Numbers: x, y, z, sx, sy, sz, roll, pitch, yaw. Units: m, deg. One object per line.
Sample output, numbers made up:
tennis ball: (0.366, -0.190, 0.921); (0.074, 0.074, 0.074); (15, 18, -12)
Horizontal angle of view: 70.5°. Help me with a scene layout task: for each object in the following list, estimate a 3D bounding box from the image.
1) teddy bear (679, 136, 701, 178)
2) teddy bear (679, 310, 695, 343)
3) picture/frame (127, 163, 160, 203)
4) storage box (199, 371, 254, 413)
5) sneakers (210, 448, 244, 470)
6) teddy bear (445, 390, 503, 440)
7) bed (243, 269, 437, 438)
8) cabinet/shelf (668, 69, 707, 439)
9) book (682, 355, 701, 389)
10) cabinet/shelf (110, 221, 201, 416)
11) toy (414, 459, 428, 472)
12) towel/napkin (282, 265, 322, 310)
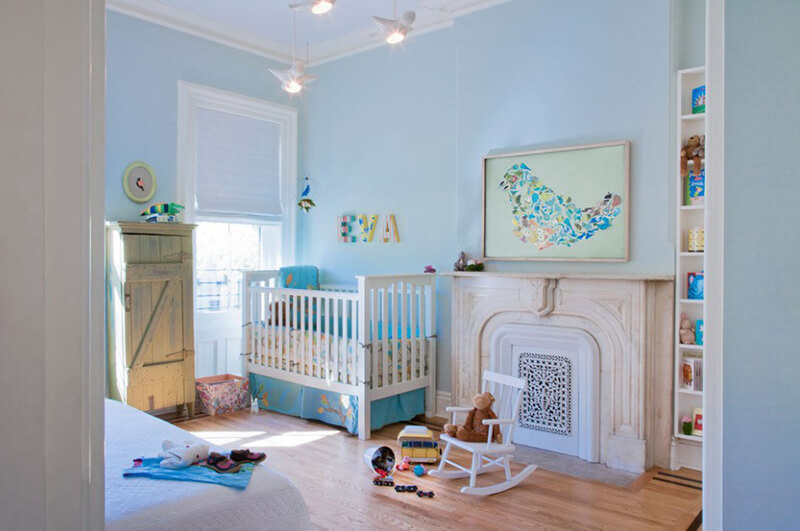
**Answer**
teddy bear: (1.857, -0.694, 3.604); (0.128, 0.261, 0.158); (2, 5, 25)
teddy bear: (1.821, 0.394, 3.592); (0.096, 0.192, 0.078); (3, 5, 26)
picture/frame: (-2.100, -0.673, 4.598); (0.050, 0.356, 0.327); (-4, -5, 35)
storage box: (-1.477, 1.069, 4.824); (0.367, 0.225, 0.268); (-1, 2, -37)
sneakers: (-0.695, 0.770, 2.273); (0.132, 0.049, 0.058); (3, -4, 31)
teddy bear: (0.463, 0.912, 3.508); (0.308, 0.342, 0.316); (12, -14, -18)
bed: (-0.538, 0.619, 4.712); (1.547, 1.157, 0.842); (3, 5, 31)
cabinet/shelf: (1.835, -0.079, 3.600); (0.215, 2.325, 0.386); (2, 5, 22)
book: (1.843, 0.666, 3.556); (0.121, 0.207, 0.216); (0, -7, 11)
cabinet/shelf: (-1.918, 0.431, 4.517); (0.595, 1.545, 0.272); (-3, 6, -42)
toy: (0.127, 1.245, 3.543); (0.053, 0.067, 0.069); (2, 12, 10)
towel/napkin: (-0.895, 0.181, 5.220); (0.336, 0.336, 0.119); (2, -4, -22)
